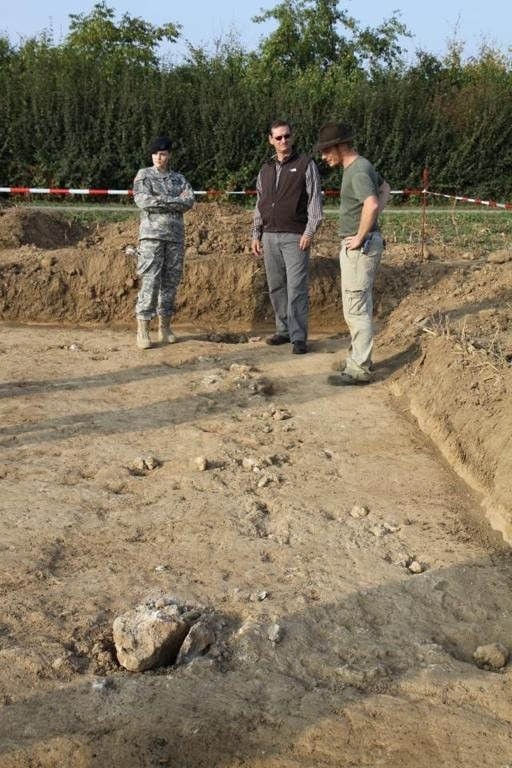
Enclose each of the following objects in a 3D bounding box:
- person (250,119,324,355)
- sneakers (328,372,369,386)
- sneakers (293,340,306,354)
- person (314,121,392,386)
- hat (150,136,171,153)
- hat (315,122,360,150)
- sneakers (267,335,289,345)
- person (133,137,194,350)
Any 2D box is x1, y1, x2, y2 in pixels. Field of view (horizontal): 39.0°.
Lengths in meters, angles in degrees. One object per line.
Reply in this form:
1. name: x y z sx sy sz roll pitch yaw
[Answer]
1. person: 0.242 -1.120 6.084 0.440 1.746 0.742 -1 13 -16
2. sneakers: 0.701 -0.035 5.448 0.235 0.092 0.125 -5 11 8
3. sneakers: 0.374 -0.311 6.204 0.120 0.120 0.295 0 1 1
4. person: 0.637 -0.844 5.050 0.479 1.813 0.758 4 12 9
5. hat: -0.768 -1.927 5.850 0.148 0.150 0.282 1 11 -6
6. hat: 0.542 -1.669 4.847 0.233 0.215 0.353 8 13 28
7. sneakers: 0.197 -0.389 6.583 0.234 0.102 0.081 4 10 -23
8. person: -0.786 -1.150 6.131 0.470 1.760 0.524 1 12 -6
